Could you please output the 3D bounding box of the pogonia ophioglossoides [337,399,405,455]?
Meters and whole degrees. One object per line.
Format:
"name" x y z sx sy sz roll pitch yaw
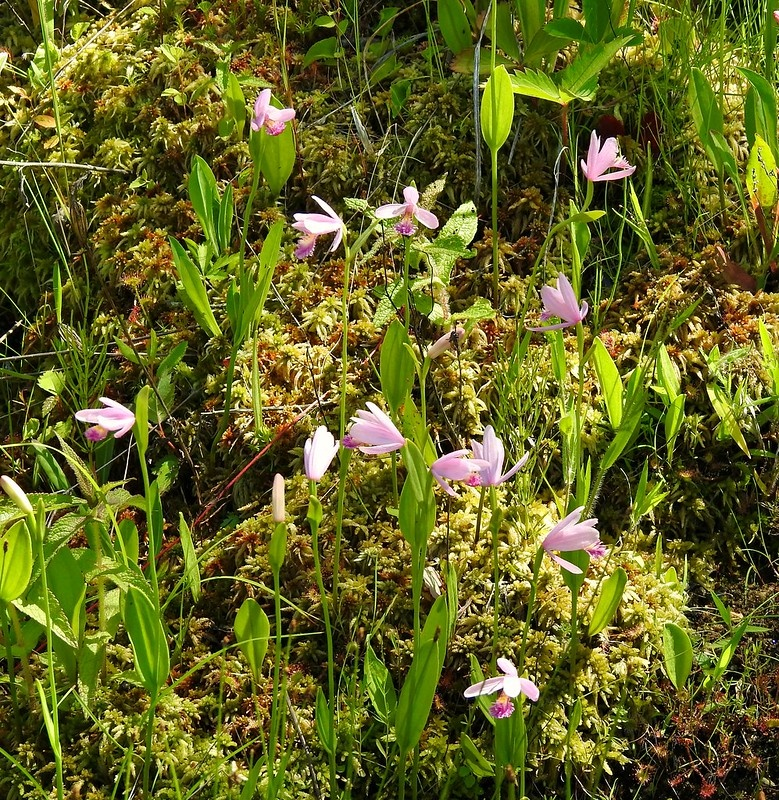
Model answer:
"pogonia ophioglossoides" -0.025 0.030 1.406 0.095 0.063 0.125 -2 27 29

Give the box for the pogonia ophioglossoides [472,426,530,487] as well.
"pogonia ophioglossoides" 0.198 0.101 1.443 0.090 0.107 0.094 0 71 25

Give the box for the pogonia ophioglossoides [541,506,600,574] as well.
"pogonia ophioglossoides" 0.293 0.250 1.386 0.036 0.101 0.093 28 55 28

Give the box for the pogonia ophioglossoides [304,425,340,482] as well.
"pogonia ophioglossoides" -0.120 0.098 1.451 0.054 0.097 0.102 4 81 12
